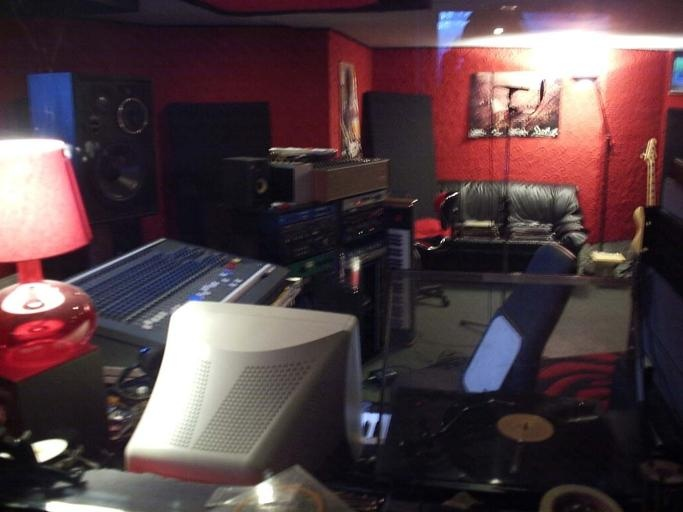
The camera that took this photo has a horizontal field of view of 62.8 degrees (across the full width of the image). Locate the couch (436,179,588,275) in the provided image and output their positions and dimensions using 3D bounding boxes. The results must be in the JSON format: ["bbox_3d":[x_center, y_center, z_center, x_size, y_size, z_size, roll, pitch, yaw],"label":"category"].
[{"bbox_3d":[1.206,-0.229,3.999,0.996,0.667,0.951,5,18,19],"label":"couch"}]

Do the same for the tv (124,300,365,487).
[{"bbox_3d":[-0.158,0.237,0.975,0.387,0.232,0.245,5,18,17],"label":"tv"}]
